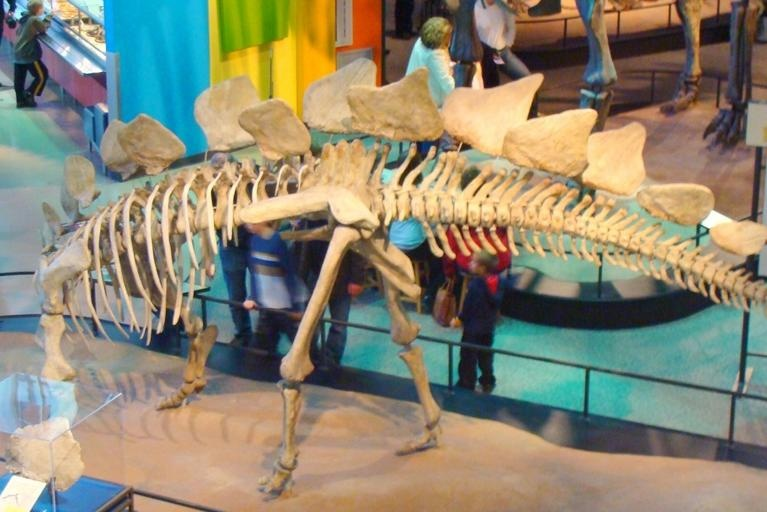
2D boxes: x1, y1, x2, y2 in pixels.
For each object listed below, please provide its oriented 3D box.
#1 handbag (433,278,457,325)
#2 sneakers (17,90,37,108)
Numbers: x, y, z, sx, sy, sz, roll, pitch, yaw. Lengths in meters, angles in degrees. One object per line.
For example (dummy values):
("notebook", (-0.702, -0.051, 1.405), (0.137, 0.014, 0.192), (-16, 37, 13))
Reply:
("handbag", (0.598, 0.463, 7.986), (0.187, 0.530, 0.419), (12, 7, 4))
("sneakers", (-4.955, -2.184, 11.545), (0.323, 0.236, 0.134), (-7, 35, -15))
